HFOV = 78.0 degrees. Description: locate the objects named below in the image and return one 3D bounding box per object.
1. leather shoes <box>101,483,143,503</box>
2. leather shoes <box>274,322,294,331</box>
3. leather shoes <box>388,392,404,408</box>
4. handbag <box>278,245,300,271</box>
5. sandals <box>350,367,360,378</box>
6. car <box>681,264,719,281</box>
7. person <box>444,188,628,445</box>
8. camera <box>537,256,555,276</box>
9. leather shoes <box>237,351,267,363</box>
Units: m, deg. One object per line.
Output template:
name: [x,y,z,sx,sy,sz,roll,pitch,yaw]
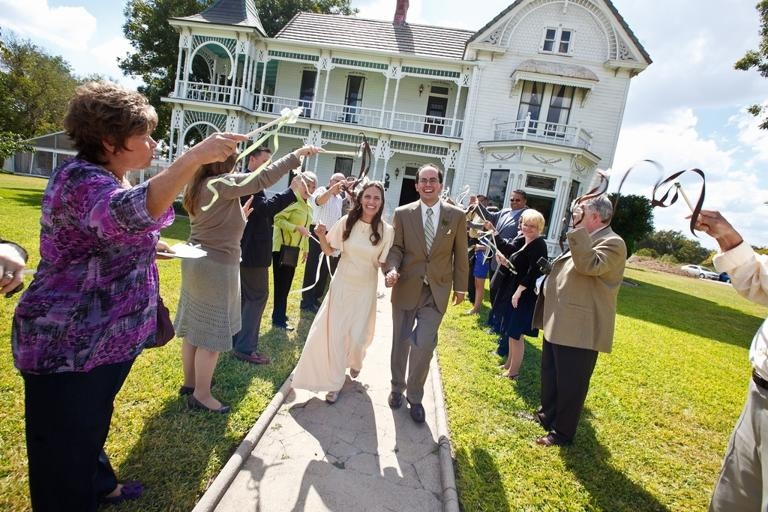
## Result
leather shoes: [-2.507,2.275,4.558,0.150,0.088,0.250,26,13,39]
leather shoes: [-1.607,1.125,7.638,0.307,0.148,0.132,3,0,-10]
leather shoes: [0.164,1.861,6.167,0.111,0.123,0.248,2,3,0]
handbag: [-1.425,-0.012,7.176,0.406,0.433,0.242,2,13,-27]
sandals: [-0.396,1.569,6.464,0.075,0.194,0.211,7,9,1]
car: [23.530,1.262,35.345,2.800,1.076,1.261,-2,9,-3]
person: [2.345,0.787,5.770,0.840,3.098,0.506,11,9,21]
camera: [2.188,0.135,6.398,0.118,0.180,0.172,31,1,33]
leather shoes: [-1.793,1.388,6.479,0.396,0.198,0.171,4,-1,-15]
